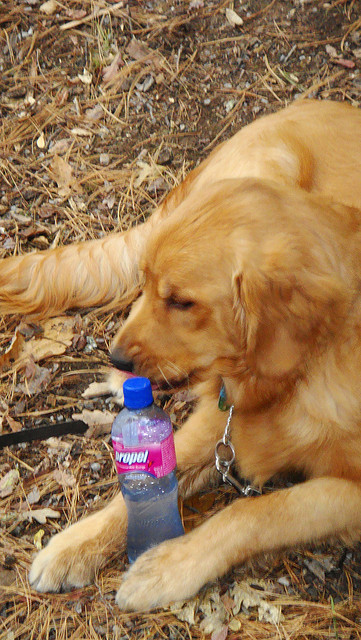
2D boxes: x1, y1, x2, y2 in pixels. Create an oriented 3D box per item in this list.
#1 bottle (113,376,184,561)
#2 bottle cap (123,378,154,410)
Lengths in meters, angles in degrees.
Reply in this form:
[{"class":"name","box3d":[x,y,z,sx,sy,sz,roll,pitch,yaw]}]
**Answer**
[{"class":"bottle","box3d":[-0.114,0.554,2.248,0.240,0.866,0.252,-5,30,3]},{"class":"bottle cap","box3d":[-0.135,0.241,2.093,0.091,0.076,0.094,13,23,38]}]
